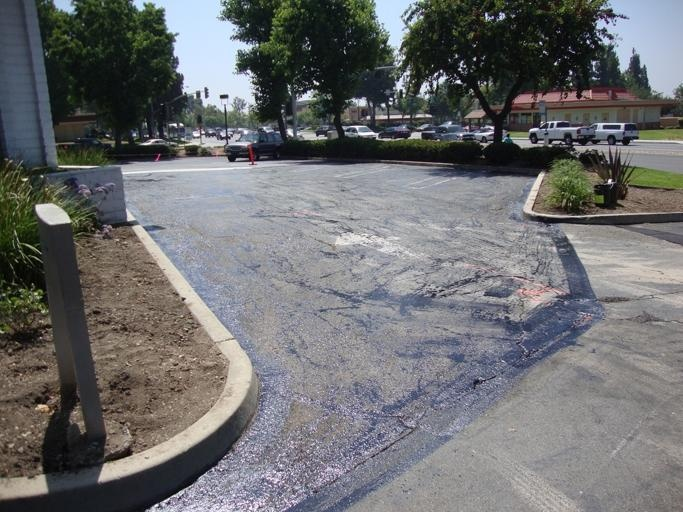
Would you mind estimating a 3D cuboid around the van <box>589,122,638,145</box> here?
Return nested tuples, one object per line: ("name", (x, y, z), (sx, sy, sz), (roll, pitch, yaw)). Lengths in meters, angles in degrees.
("van", (23.849, -10.702, 45.582), (2.181, 1.623, 4.009), (-8, 18, -24))

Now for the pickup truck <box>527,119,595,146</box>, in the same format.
("pickup truck", (20.771, -11.587, 48.579), (2.867, 1.954, 6.723), (-8, 18, -14))
